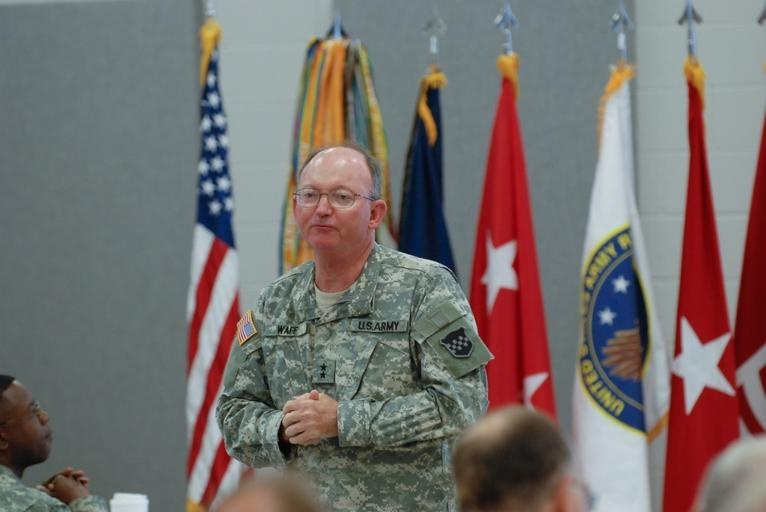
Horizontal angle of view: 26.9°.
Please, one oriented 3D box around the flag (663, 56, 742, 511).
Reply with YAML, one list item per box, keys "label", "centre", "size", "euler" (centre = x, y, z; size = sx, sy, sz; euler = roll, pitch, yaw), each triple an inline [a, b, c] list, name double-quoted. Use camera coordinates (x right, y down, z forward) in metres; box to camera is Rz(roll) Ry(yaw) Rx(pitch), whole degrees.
- label: "flag"
  centre: [1.919, 0.176, 9.349]
  size: [0.449, 2.610, 0.558]
  euler: [4, 9, 7]
